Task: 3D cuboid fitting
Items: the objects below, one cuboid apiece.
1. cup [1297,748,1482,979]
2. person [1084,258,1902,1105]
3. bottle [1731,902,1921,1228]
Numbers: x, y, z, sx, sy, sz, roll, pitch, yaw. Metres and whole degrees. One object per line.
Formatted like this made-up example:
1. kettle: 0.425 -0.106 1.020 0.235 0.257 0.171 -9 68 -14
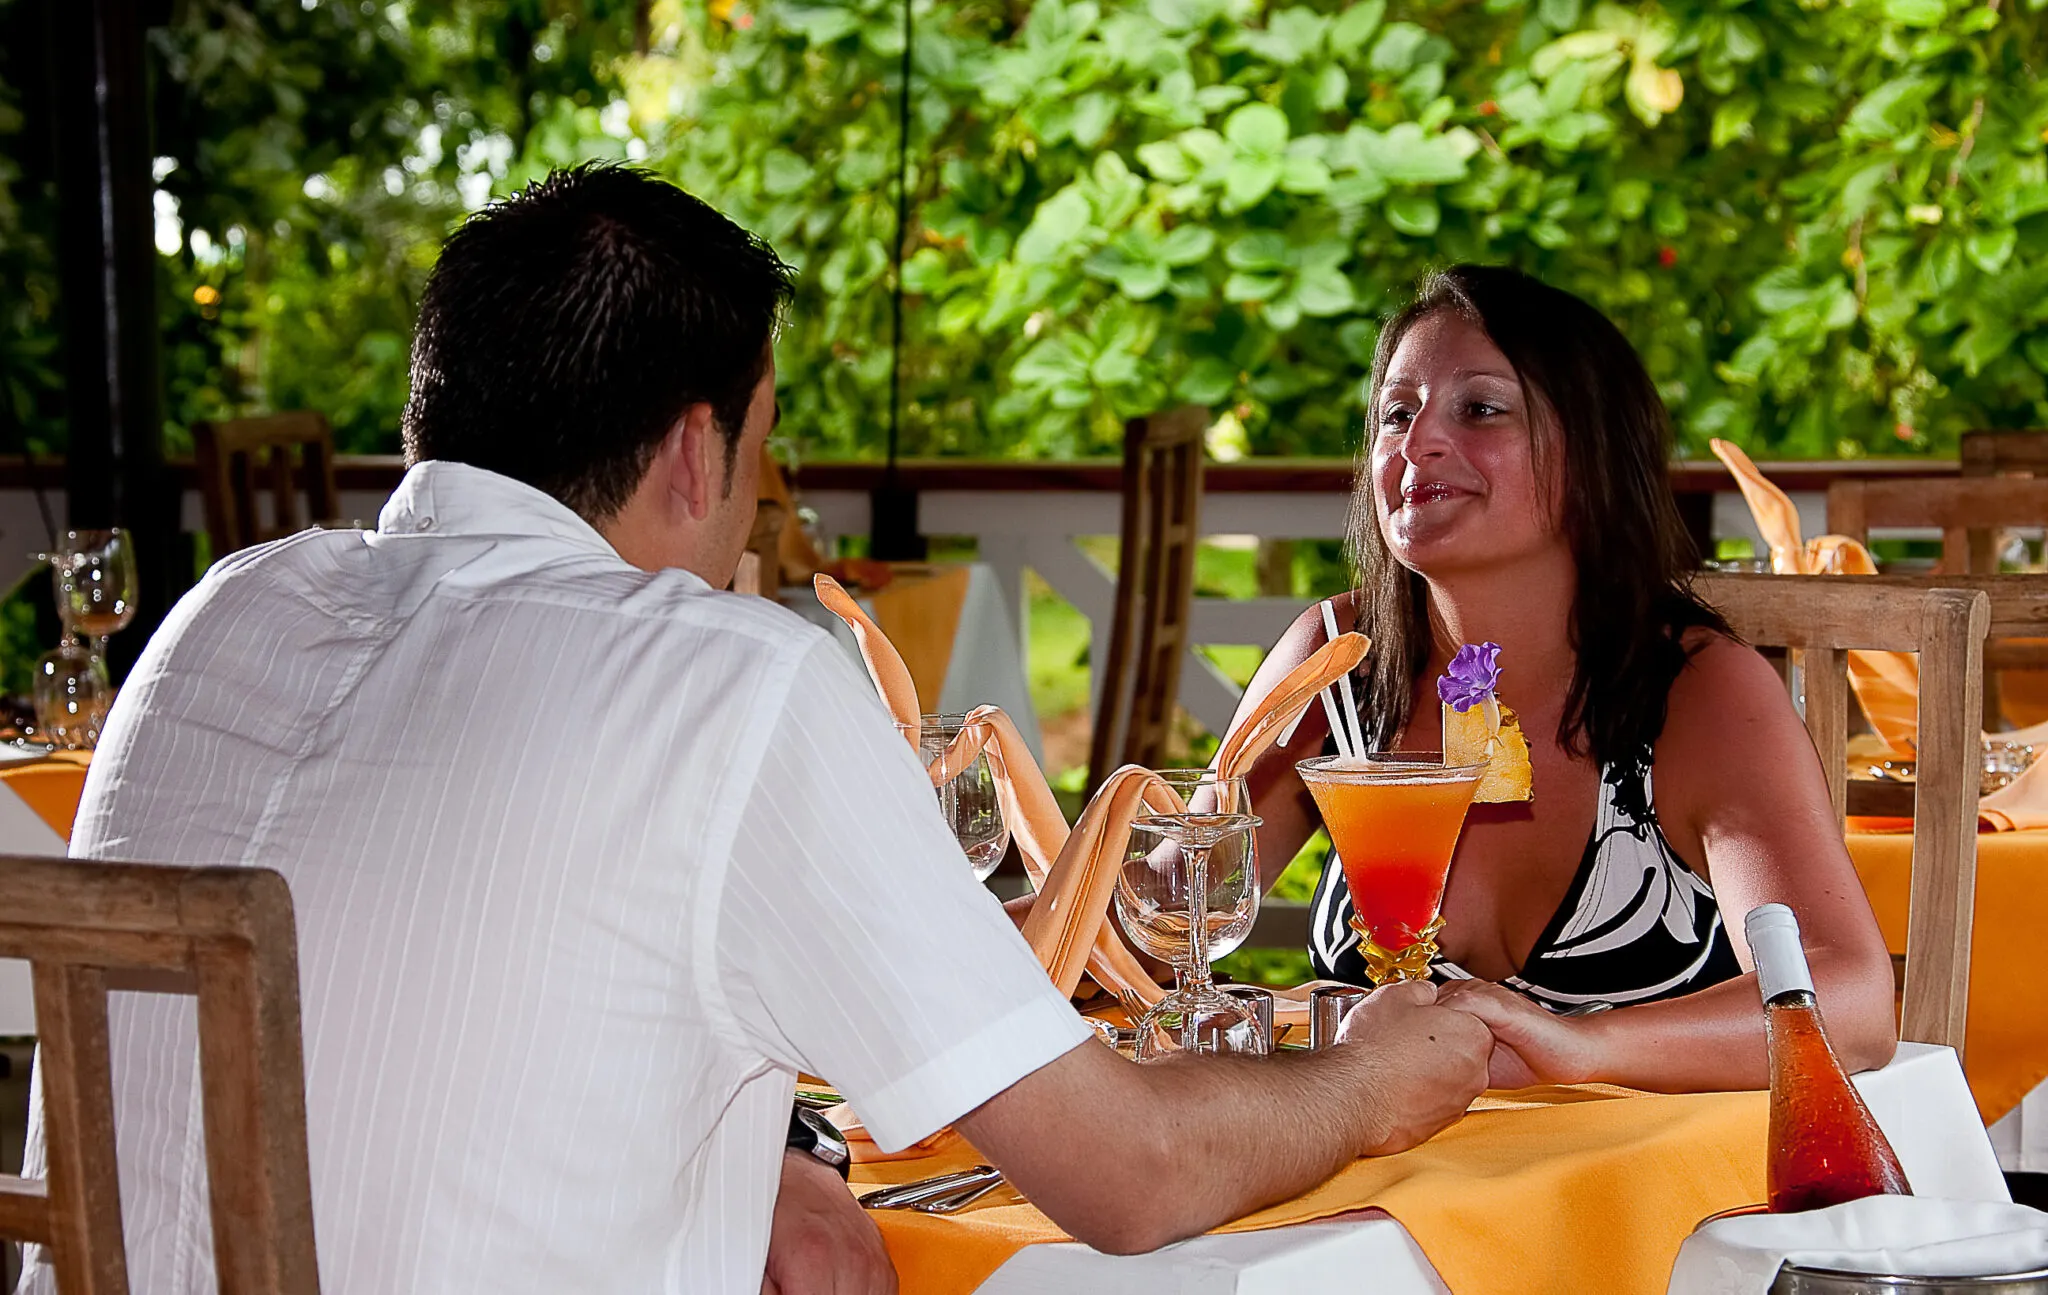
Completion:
1. cup: 0.303 0.208 2.271 0.194 0.264 0.204 -1 -1 0
2. person: 0.620 0.030 2.870 1.235 1.058 0.778 -8 -12 42
3. bottle: 0.643 0.332 1.863 0.112 0.250 0.237 -3 -3 20
